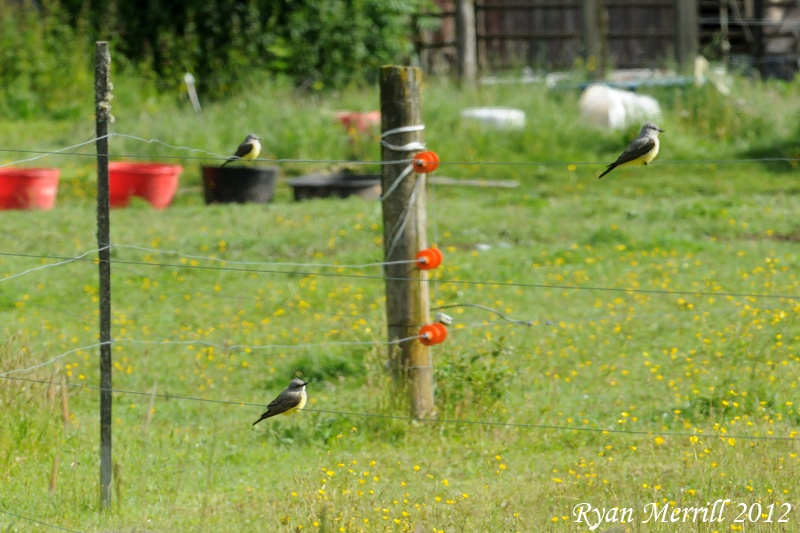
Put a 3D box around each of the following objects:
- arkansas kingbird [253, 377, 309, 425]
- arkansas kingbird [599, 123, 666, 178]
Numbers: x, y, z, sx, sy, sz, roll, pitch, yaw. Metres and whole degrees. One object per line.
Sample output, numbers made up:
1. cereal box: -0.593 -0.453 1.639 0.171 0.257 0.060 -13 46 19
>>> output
1. arkansas kingbird: -1.519 1.707 23.983 0.723 0.496 0.373 -13 9 -10
2. arkansas kingbird: 3.013 -1.503 24.582 0.559 0.556 0.761 3 15 18
